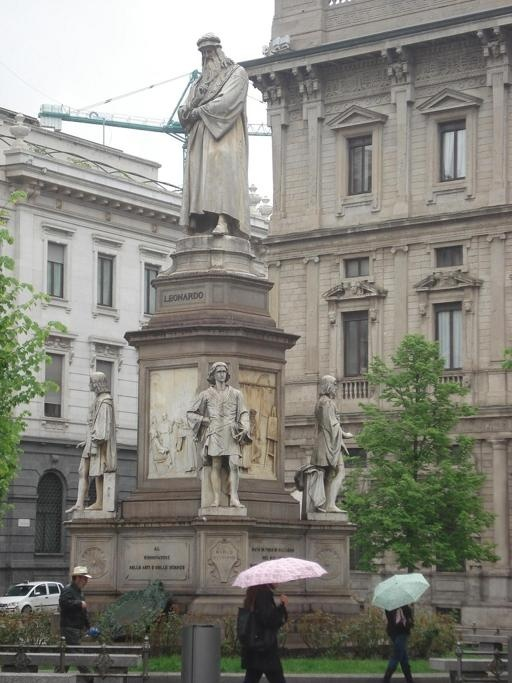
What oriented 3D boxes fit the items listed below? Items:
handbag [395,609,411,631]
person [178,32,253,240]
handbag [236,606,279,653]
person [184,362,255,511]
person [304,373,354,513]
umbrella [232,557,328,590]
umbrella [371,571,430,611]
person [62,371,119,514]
[{"bbox_3d":[2.128,4.097,28.593,0.234,0.253,0.434,-4,17,5],"label":"handbag"},{"bbox_3d":[-0.711,-3.598,33.792,1.131,3.682,0.733,-1,-7,-3],"label":"person"},{"bbox_3d":[0.020,3.660,24.780,0.597,0.803,0.417,-6,-5,44],"label":"handbag"},{"bbox_3d":[-0.573,1.502,30.772,0.947,2.331,0.407,-1,-7,-2],"label":"person"},{"bbox_3d":[1.211,1.755,33.516,0.732,2.502,1.522,-1,-8,3],"label":"person"},{"bbox_3d":[0.282,3.004,25.274,0.809,0.399,1.164,-9,-11,41],"label":"umbrella"},{"bbox_3d":[2.113,3.724,28.827,0.798,0.548,0.947,-2,-8,4],"label":"umbrella"},{"bbox_3d":[-2.639,1.645,32.248,0.701,2.377,0.733,4,-9,-36],"label":"person"}]
